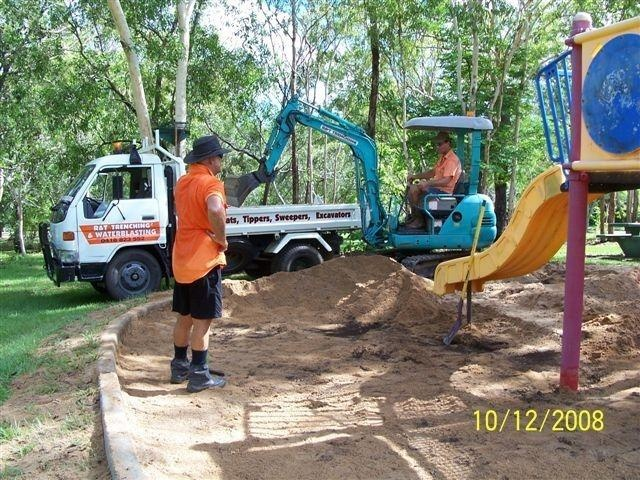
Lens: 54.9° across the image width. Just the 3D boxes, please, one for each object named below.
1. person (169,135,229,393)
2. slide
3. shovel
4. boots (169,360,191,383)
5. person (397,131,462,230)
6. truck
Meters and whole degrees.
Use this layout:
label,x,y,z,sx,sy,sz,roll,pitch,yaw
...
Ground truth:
label,x,y,z,sx,sy,sz,roll,pitch,yaw
person,-1.477,0.146,7.341,0.882,2.660,0.974,1,8,-20
slide,2.511,-0.032,8.639,2.043,1.170,0.627,-19,-22,16
shovel,2.122,0.568,9.089,0.637,2.246,0.789,4,10,4
boots,-1.681,1.561,7.345,0.170,0.266,0.381,2,3,11
person,2.416,-1.262,13.277,1.111,2.050,1.069,2,11,-4
truck,-2.250,-0.329,14.107,7.435,4.068,2.743,0,-1,-30
